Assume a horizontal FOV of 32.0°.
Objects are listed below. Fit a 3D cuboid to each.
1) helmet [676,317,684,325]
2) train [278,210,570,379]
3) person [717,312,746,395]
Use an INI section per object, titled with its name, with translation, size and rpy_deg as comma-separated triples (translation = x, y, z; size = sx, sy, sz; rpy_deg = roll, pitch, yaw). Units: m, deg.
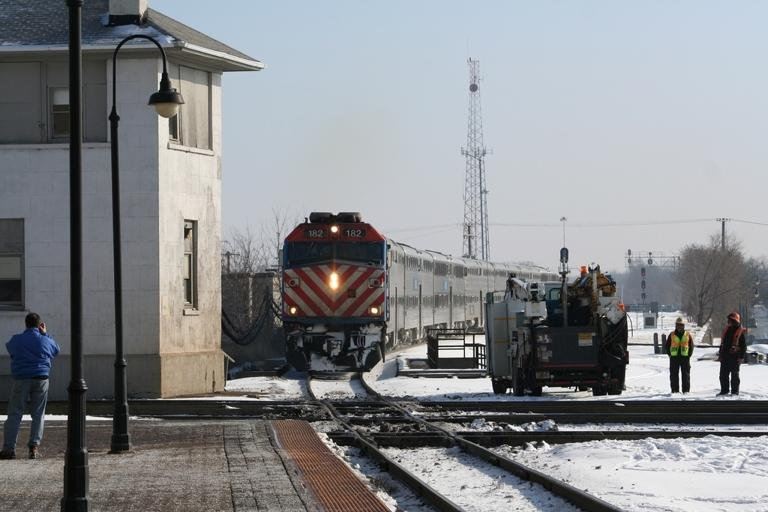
[helmet]
translation = 8.128, 1.808, 36.963
size = 0.209, 0.163, 0.334
rpy_deg = 0, -5, 11
[train]
translation = 0.686, 1.640, 55.664
size = 4.447, 4.877, 26.087
rpy_deg = -1, -2, 16
[person]
translation = 9.599, 2.770, 37.060
size = 0.615, 2.319, 0.975
rpy_deg = 1, 2, -36
